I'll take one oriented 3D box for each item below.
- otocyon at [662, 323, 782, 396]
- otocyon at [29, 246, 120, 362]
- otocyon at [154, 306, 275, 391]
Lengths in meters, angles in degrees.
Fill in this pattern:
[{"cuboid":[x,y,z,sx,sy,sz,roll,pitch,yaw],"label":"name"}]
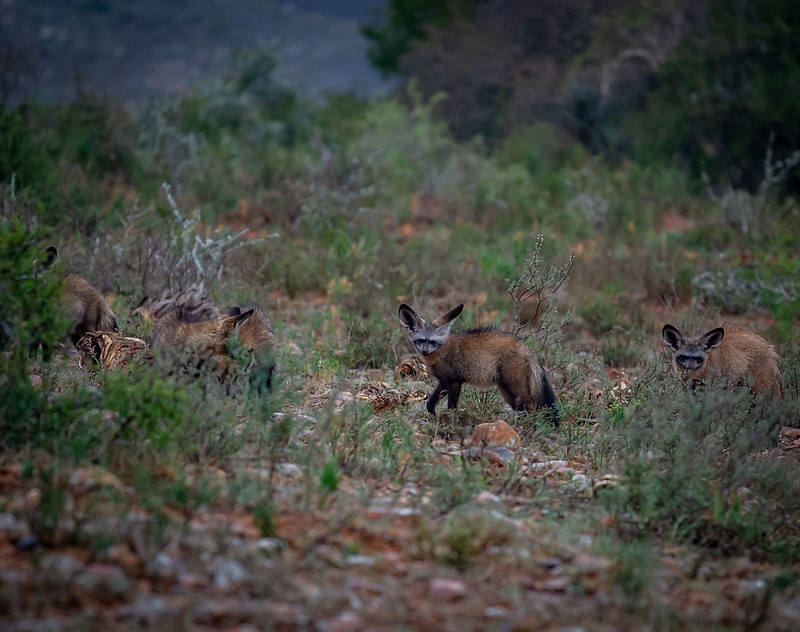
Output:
[{"cuboid":[3.042,0.550,8.021,1.396,0.872,0.501,5,4,-29],"label":"otocyon"},{"cuboid":[-3.036,0.023,7.602,0.282,0.756,1.290,1,-1,18],"label":"otocyon"},{"cuboid":[-1.537,0.292,7.060,0.921,0.538,0.349,21,11,19],"label":"otocyon"}]
